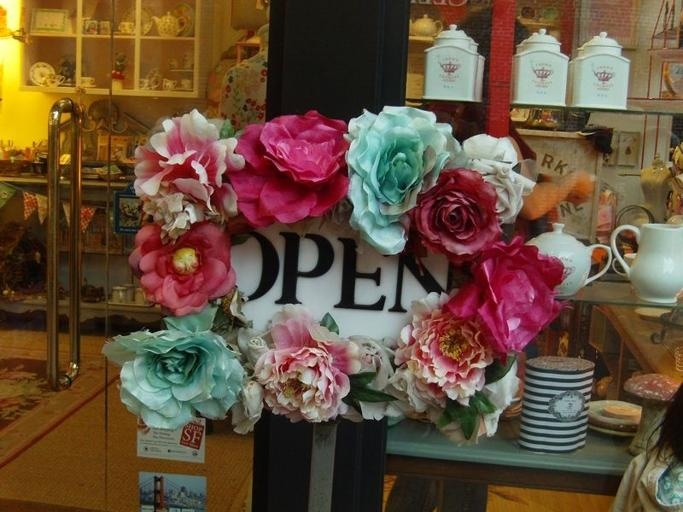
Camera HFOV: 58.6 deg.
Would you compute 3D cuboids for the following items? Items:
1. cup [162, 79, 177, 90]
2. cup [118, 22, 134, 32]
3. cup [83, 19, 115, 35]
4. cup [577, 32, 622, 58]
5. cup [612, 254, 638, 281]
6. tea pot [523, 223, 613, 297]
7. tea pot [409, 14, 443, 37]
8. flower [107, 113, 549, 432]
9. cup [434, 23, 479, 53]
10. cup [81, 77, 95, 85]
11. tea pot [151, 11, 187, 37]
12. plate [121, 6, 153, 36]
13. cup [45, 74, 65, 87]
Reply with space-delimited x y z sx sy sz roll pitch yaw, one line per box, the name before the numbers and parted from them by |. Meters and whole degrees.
cup | -0.940 -0.936 3.322 0.080 0.065 0.052 12 33 16
cup | -1.310 -1.380 3.695 0.094 0.065 0.085 -1 18 -7
cup | -1.557 -1.452 3.863 0.115 0.068 0.117 3 18 -1
cup | 0.546 -0.444 1.285 0.059 0.036 0.060 0 24 0
cup | 0.618 0.024 1.335 0.061 0.055 0.040 -1 4 26
tea pot | 0.492 0.009 1.348 0.195 0.153 0.152 5 17 16
tea pot | 0.173 -0.477 1.256 0.056 0.037 0.040 -9 28 -15
flower | -0.013 0.023 1.099 0.716 0.631 0.346 8 -22 1
cup | 0.235 -0.451 1.263 0.060 0.034 0.061 1 16 0
cup | -1.583 -1.082 3.792 0.080 0.058 0.062 -1 10 -20
tea pot | -1.005 -1.364 3.600 0.201 0.137 0.131 9 19 12
plate | -1.222 -1.400 3.641 0.172 0.175 0.029 7 15 11
cup | -1.791 -1.089 3.793 0.065 0.063 0.096 0 -1 -7
